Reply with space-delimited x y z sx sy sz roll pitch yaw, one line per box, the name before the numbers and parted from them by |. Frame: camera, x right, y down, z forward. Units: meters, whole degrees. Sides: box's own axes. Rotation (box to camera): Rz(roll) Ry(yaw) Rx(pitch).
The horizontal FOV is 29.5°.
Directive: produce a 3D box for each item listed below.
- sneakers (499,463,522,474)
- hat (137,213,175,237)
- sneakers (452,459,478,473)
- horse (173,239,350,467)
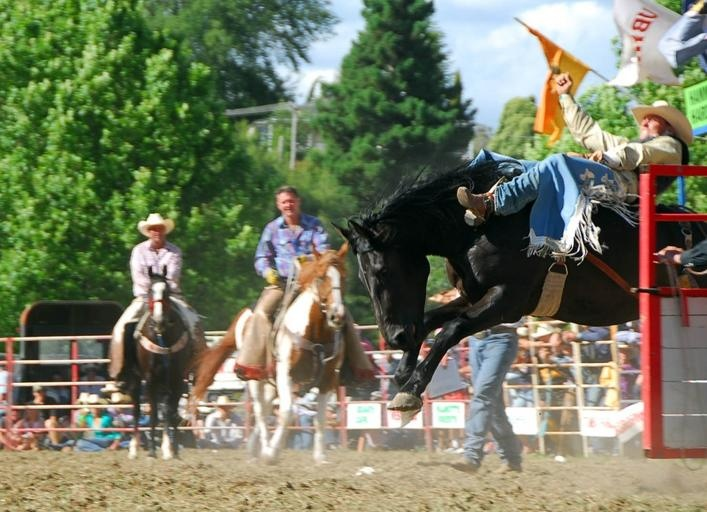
sneakers | 2.203 2.994 19.026 0.215 0.053 0.186 -3 -20 -33
hat | -3.034 -0.549 20.870 0.576 0.182 0.533 -1 -20 -6
sneakers | 1.570 2.903 18.813 0.375 0.203 0.208 -2 -12 2
horse | -0.451 1.492 19.577 2.274 2.975 3.297 7 -14 -35
